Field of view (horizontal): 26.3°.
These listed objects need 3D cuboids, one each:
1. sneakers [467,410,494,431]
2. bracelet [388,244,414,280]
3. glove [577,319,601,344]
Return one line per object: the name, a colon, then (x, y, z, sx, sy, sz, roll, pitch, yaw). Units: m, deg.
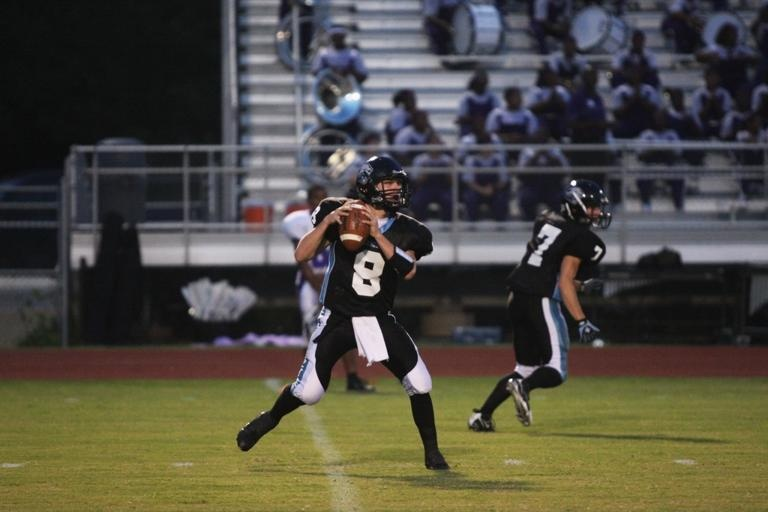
sneakers: (1.254, 2.174, 21.395, 0.381, 0.217, 0.179, 3, 1, -3)
bracelet: (0.258, 0.074, 20.099, 0.289, 0.374, 0.159, -40, -17, -26)
glove: (2.674, 0.978, 21.582, 0.233, 0.333, 0.514, 0, 2, 10)
